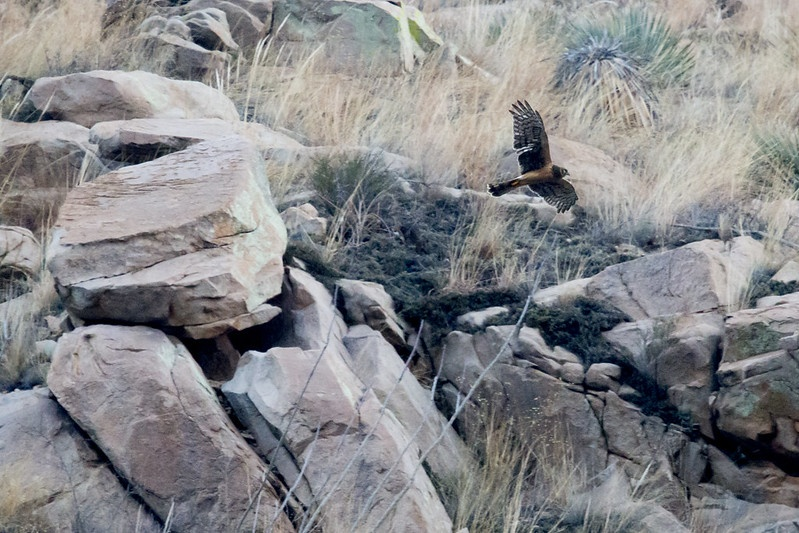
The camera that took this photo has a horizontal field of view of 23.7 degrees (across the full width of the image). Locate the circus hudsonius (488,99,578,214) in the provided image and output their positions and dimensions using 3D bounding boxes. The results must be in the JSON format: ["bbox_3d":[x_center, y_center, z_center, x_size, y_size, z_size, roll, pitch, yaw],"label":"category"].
[{"bbox_3d":[1.419,-1.006,20.772,0.962,1.479,0.340,-12,47,20],"label":"circus hudsonius"}]
